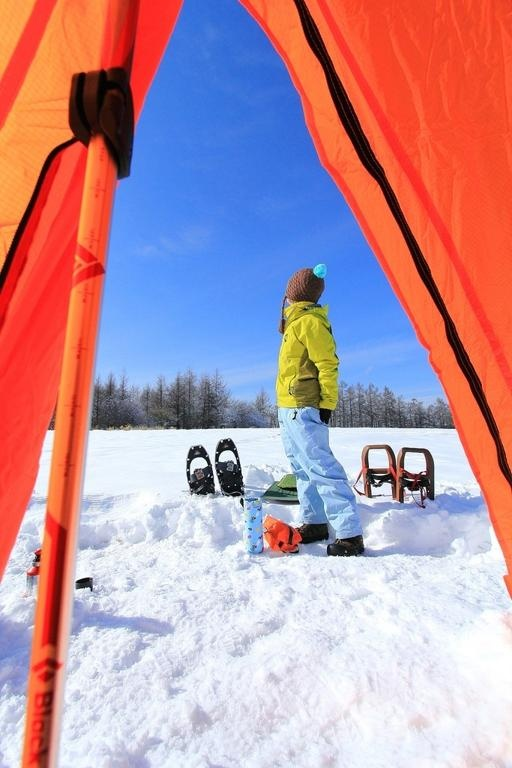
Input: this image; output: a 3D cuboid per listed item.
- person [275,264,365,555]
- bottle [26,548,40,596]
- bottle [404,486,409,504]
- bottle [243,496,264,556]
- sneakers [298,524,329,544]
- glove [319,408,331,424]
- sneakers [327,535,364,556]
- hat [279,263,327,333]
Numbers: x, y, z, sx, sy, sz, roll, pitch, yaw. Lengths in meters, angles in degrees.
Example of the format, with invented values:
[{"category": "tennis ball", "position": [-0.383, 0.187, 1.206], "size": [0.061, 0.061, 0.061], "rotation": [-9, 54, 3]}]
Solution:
[{"category": "person", "position": [0.384, 0.105, 3.152], "size": [0.456, 1.822, 0.940], "rotation": [-1, 2, -12]}, {"category": "bottle", "position": [-1.040, 0.855, 2.241], "size": [0.059, 0.160, 0.303], "rotation": [-2, 2, -27]}, {"category": "bottle", "position": [1.241, 0.905, 3.954], "size": [0.024, 0.093, 0.095], "rotation": [4, 9, 15]}, {"category": "bottle", "position": [-0.012, 0.840, 2.900], "size": [0.113, 0.303, 0.228], "rotation": [-1, 2, 0]}, {"category": "sneakers", "position": [0.378, 0.956, 3.118], "size": [0.220, 0.116, 0.096], "rotation": [-2, 2, -24]}, {"category": "glove", "position": [0.447, 0.201, 3.136], "size": [0.080, 0.163, 0.045], "rotation": [2, -17, 1]}, {"category": "sneakers", "position": [0.513, 0.931, 2.764], "size": [0.181, 0.139, 0.105], "rotation": [12, -40, -2]}, {"category": "hat", "position": [0.340, -0.619, 3.531], "size": [0.301, 0.504, 0.286], "rotation": [5, 4, 28]}]
